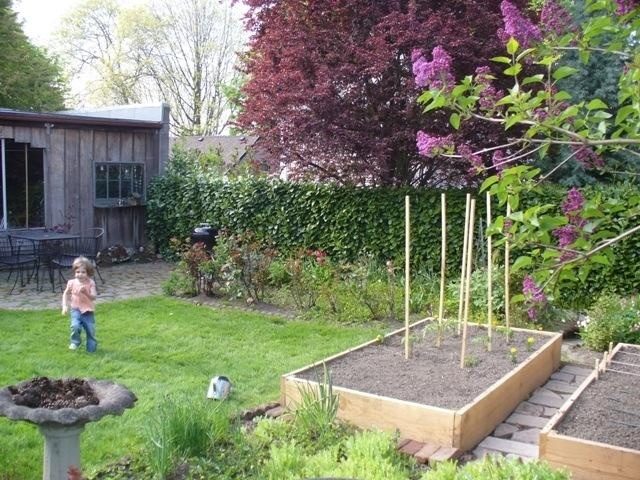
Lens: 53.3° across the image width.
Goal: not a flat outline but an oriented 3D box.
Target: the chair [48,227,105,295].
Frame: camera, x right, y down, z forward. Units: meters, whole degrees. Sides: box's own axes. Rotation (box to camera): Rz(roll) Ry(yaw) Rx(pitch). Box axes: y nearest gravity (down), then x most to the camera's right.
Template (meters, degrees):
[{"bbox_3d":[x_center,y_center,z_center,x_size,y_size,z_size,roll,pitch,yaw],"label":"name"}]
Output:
[{"bbox_3d":[-4.529,0.333,11.987,0.900,1.233,0.957,8,11,9],"label":"chair"}]

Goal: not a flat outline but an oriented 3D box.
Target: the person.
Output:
[{"bbox_3d":[-2.903,0.780,7.756,0.365,1.125,0.493,-2,1,-20],"label":"person"}]
